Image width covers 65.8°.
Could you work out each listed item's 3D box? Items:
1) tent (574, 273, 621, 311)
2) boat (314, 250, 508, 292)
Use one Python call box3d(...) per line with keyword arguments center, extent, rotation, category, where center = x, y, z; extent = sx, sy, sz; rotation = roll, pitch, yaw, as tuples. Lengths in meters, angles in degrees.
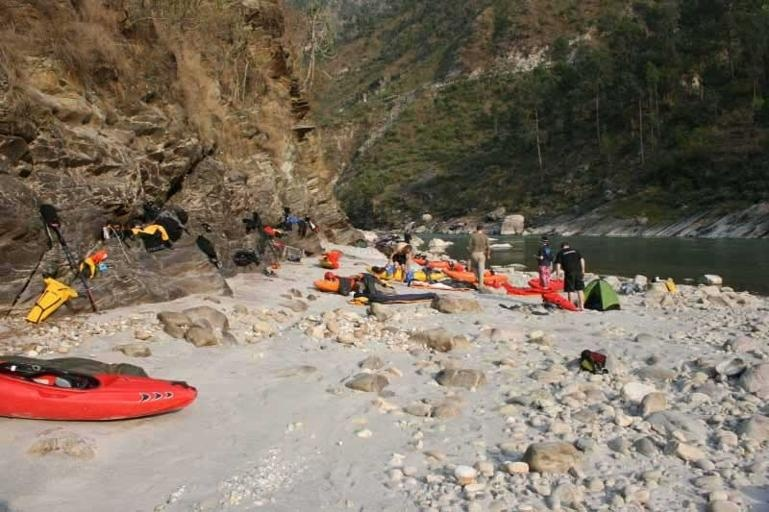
box3d(center=(5.528, 0.890, 15.287), extent=(1.060, 0.593, 0.915), rotation=(7, 16, 14), category="tent")
box3d(center=(1.616, 0.521, 18.667), extent=(3.847, 1.033, 2.571), rotation=(-6, 4, -22), category="boat")
